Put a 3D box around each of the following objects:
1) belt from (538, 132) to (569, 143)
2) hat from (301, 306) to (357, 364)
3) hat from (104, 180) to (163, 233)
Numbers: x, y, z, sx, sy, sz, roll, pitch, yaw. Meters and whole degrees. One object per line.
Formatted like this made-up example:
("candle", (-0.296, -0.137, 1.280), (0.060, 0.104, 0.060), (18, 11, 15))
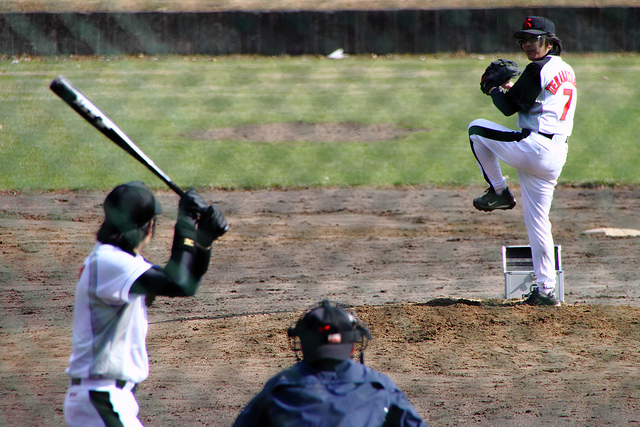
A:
("belt", (4.791, -1.559, 35.698), (0.535, 0.291, 0.070), (-9, 14, -7))
("hat", (0.167, 2.291, 32.928), (0.896, 1.263, 1.126), (4, -10, 2))
("hat", (-3.640, -0.129, 33.334), (1.124, 0.603, 0.811), (-29, 47, -31))
